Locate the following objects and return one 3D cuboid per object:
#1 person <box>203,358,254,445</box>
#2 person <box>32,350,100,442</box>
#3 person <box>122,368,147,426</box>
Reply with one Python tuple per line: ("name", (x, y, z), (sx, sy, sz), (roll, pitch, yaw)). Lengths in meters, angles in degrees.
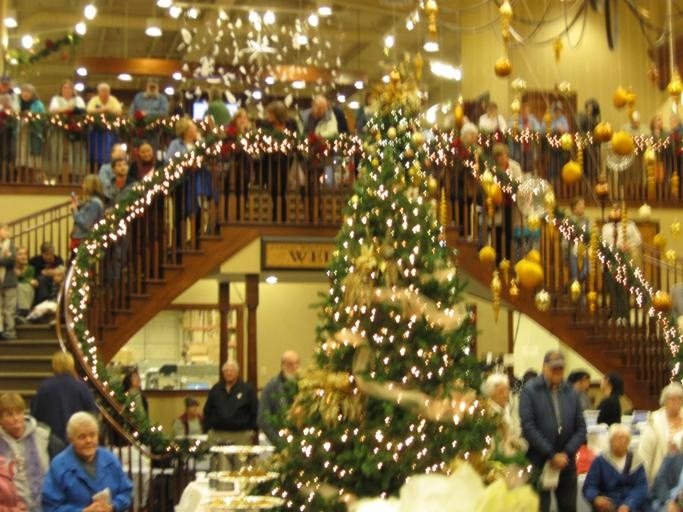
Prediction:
("person", (-1.287, 1.993, 12.738), (0.582, 1.744, 0.417), (0, 14, -4))
("person", (-2.905, 1.494, 11.411), (0.587, 0.440, 1.406), (-3, -53, -19))
("person", (-2.463, 1.586, 13.041), (0.292, 0.732, 1.634), (2, -12, -11))
